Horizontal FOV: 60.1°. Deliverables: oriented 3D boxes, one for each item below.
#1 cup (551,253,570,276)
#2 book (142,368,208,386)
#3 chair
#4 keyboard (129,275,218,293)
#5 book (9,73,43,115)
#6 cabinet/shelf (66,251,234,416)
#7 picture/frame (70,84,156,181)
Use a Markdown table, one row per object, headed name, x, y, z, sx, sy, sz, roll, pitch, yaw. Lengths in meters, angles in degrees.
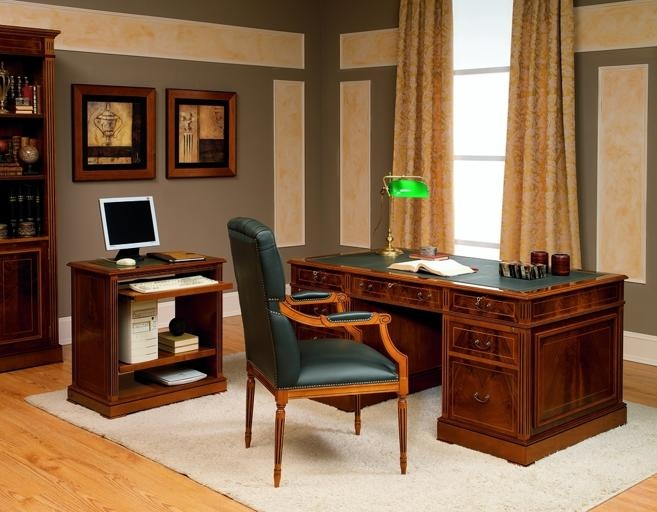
| name | x | y | z | sx | sy | sz | roll | pitch | yaw |
| --- | --- | --- | --- | --- | --- | --- | --- | --- | --- |
| cup | 1.339 | 0.045 | 3.299 | 0.132 | 0.126 | 0.131 | 0 | -1 | 0 |
| book | -1.096 | 0.850 | 3.992 | 0.193 | 0.039 | 0.188 | -1 | 5 | -38 |
| chair | -0.087 | 0.450 | 3.059 | 0.885 | 1.165 | 0.726 | 2 | 2 | -23 |
| keyboard | -1.058 | 0.179 | 3.782 | 0.305 | 0.047 | 0.560 | 6 | 8 | 43 |
| book | -2.409 | -1.265 | 4.459 | 0.250 | 0.307 | 0.191 | -4 | 8 | -27 |
| cabinet/shelf | -1.248 | 0.365 | 4.185 | 1.073 | 1.127 | 1.375 | 3 | 5 | 44 |
| picture/frame | -2.030 | -1.159 | 5.210 | 1.073 | 1.078 | 0.090 | -3 | 6 | -38 |
